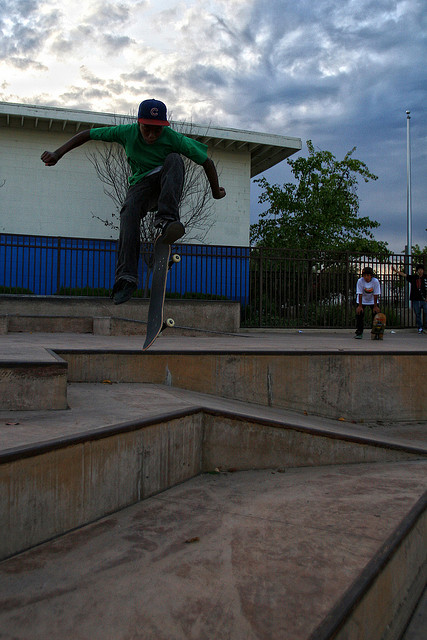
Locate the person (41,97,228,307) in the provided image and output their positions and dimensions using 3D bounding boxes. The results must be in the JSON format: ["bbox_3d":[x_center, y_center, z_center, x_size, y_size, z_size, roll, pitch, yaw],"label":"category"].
[{"bbox_3d":[-0.514,-0.798,3.876,0.899,1.306,0.744,-2,-2,22],"label":"person"}]

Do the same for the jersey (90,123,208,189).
[{"bbox_3d":[-0.482,-1.226,3.873,0.870,0.476,0.434,-2,-2,-4],"label":"jersey"}]

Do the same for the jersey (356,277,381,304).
[{"bbox_3d":[2.667,-0.494,9.084,0.366,0.468,0.320,-2,-2,17],"label":"jersey"}]

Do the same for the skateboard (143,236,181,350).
[{"bbox_3d":[-0.382,-0.191,3.643,0.130,0.913,0.218,12,-12,-26],"label":"skateboard"}]

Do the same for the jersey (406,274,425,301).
[{"bbox_3d":[4.889,-0.772,12.722,0.650,0.566,0.102,5,18,19],"label":"jersey"}]

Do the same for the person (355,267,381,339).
[{"bbox_3d":[2.711,-0.291,9.335,0.432,1.252,1.113,-2,-2,16],"label":"person"}]

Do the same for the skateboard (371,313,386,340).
[{"bbox_3d":[2.808,0.180,8.834,0.161,0.386,0.507,1,-17,7],"label":"skateboard"}]
